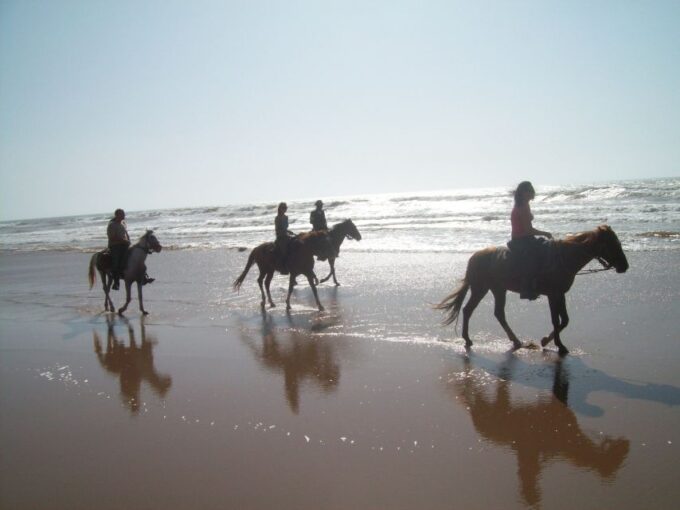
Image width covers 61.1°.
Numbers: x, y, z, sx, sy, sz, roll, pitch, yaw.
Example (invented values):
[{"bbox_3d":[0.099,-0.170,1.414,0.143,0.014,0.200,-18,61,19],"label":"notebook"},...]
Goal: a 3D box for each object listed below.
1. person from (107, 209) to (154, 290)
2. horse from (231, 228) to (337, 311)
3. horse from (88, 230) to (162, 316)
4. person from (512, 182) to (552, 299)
[{"bbox_3d":[-5.469,-0.115,14.293,0.531,2.039,0.658,-6,11,-20],"label":"person"},{"bbox_3d":[-1.348,0.366,14.482,2.339,1.877,1.088,2,12,22],"label":"horse"},{"bbox_3d":[-5.416,0.467,14.479,2.570,2.150,0.716,-2,-3,31],"label":"horse"},{"bbox_3d":[3.255,-0.228,10.087,0.565,2.064,0.301,0,11,15],"label":"person"}]
